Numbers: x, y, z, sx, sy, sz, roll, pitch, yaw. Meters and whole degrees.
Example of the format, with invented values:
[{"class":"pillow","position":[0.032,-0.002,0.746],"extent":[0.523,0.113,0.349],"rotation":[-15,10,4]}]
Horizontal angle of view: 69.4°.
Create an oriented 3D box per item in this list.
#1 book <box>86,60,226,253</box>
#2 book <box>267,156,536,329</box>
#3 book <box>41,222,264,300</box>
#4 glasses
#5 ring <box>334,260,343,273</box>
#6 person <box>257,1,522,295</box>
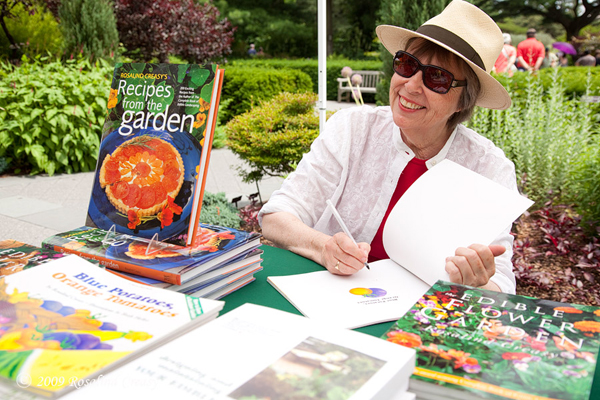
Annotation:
[{"class":"book","position":[-0.447,-0.145,1.724],"extent":[0.673,0.643,0.161],"rotation":[4,-5,27]},{"class":"book","position":[0.417,0.154,1.657],"extent":[0.926,0.353,0.546],"rotation":[-6,30,-32]},{"class":"book","position":[-0.547,0.189,1.553],"extent":[0.501,0.121,0.361],"rotation":[9,13,27]},{"class":"glasses","position":[0.604,-0.595,2.022],"extent":[0.339,0.192,0.136],"rotation":[4,14,9]},{"class":"ring","position":[0.147,0.261,1.691],"extent":[0.014,0.034,0.025],"rotation":[10,15,-20]},{"class":"person","position":[0.407,-0.308,2.353],"extent":[1.519,1.382,1.192],"rotation":[1,-3,6]}]
